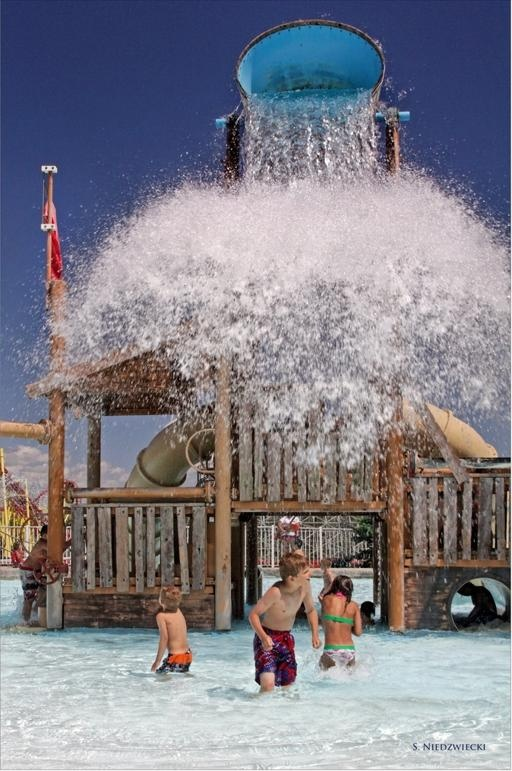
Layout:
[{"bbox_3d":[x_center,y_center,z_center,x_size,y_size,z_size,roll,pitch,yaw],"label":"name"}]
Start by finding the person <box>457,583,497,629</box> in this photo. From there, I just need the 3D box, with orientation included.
[{"bbox_3d":[2.827,2.784,12.748,0.470,0.508,1.060,-2,-6,14],"label":"person"}]

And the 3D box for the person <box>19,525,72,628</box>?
[{"bbox_3d":[-2.812,2.409,12.674,0.324,1.251,1.506,1,-6,-13],"label":"person"}]

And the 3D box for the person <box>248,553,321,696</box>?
[{"bbox_3d":[0.213,1.980,8.295,0.932,1.157,0.513,4,-6,-37],"label":"person"}]
